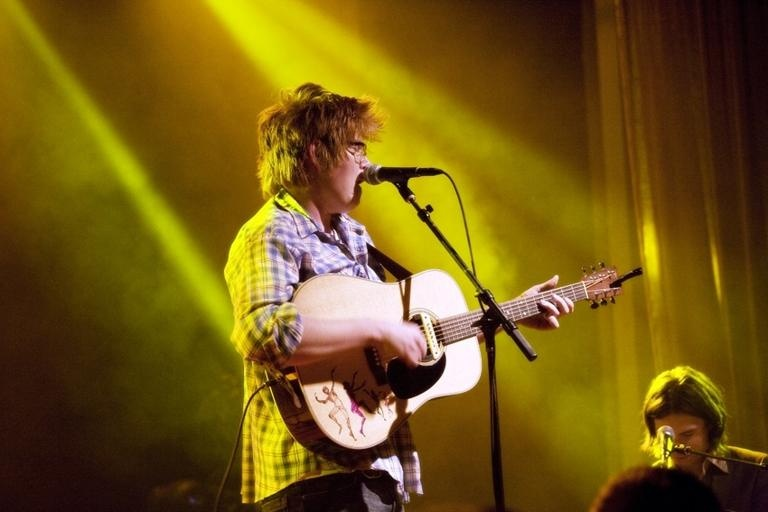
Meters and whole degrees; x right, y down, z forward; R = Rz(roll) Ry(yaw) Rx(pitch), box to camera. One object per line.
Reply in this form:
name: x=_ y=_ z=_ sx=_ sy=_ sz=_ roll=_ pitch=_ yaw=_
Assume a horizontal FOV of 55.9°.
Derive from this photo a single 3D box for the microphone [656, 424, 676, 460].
microphone: x=1.838 y=1.201 z=4.698 sx=0.113 sy=0.231 sz=0.282 roll=-14 pitch=-27 yaw=18
